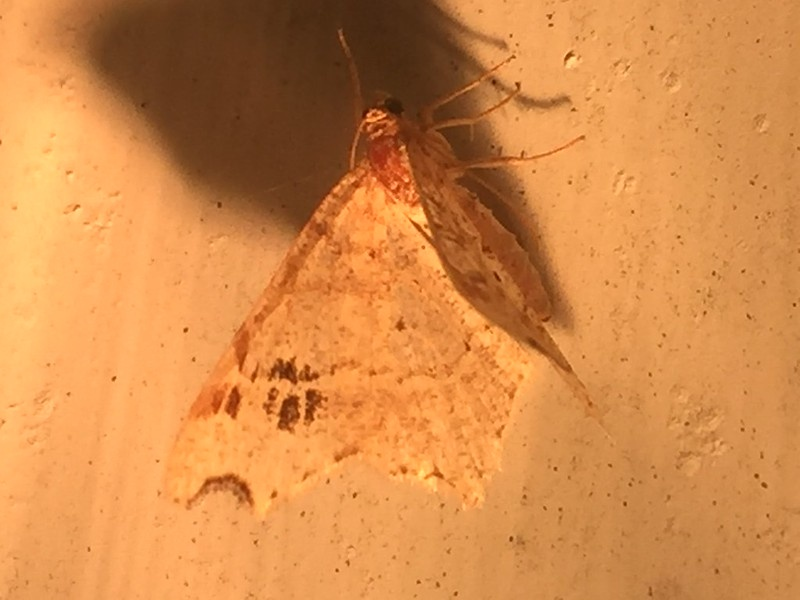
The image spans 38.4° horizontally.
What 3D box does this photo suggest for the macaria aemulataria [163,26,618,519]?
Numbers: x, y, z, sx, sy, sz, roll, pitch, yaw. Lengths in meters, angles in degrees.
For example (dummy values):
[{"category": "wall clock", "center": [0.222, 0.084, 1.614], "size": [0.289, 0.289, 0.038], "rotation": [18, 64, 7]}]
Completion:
[{"category": "macaria aemulataria", "center": [-0.062, -0.054, 3.196], "size": [1.009, 0.397, 1.332], "rotation": [1, 99, 18]}]
